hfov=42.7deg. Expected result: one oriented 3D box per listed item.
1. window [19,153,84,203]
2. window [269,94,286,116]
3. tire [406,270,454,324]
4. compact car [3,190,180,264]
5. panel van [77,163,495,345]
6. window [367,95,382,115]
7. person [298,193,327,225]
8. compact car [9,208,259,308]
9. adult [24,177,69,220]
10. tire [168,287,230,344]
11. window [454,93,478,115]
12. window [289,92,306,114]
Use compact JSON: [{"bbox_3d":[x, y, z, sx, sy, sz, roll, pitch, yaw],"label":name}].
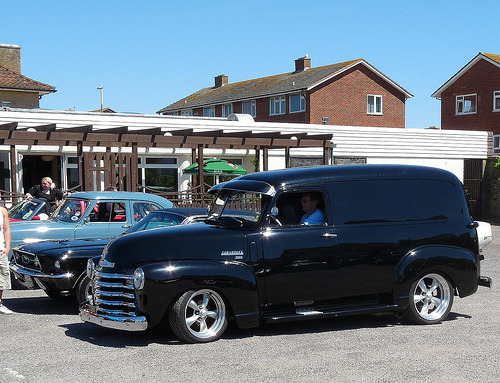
[{"bbox_3d":[-7.320,-0.606,23.415,2.525,1.545,1.336,-5,4,-34],"label":"window"},{"bbox_3d":[1.971,-6.007,44.651,0.149,1.337,1.640,4,-4,-41],"label":"window"},{"bbox_3d":[2.670,1.569,9.547,0.836,0.759,0.286,-6,6,-28],"label":"tire"},{"bbox_3d":[-3.158,0.763,13.246,3.687,1.518,1.706,-2,3,-35],"label":"compact car"},{"bbox_3d":[0.705,0.815,9.176,5.523,2.376,0.825,-1,3,-18],"label":"panel van"},{"bbox_3d":[8.719,-5.991,44.807,1.612,1.582,0.114,-2,-1,-23],"label":"window"},{"bbox_3d":[0.931,0.239,9.445,0.350,0.513,0.593,1,3,-5],"label":"person"},{"bbox_3d":[-1.851,1.060,10.713,4.063,1.199,1.702,0,-1,-23],"label":"compact car"},{"bbox_3d":[-4.966,0.210,15.364,0.808,1.046,0.607,11,13,-11],"label":"adult"},{"bbox_3d":[-0.684,1.624,8.485,0.839,0.762,0.286,-3,2,-27],"label":"tire"},{"bbox_3d":[16.167,-6.485,47.536,0.076,1.336,1.983,-3,2,-24],"label":"window"},{"bbox_3d":[3.266,-5.952,43.221,0.076,1.482,1.628,3,-3,-36],"label":"window"}]
